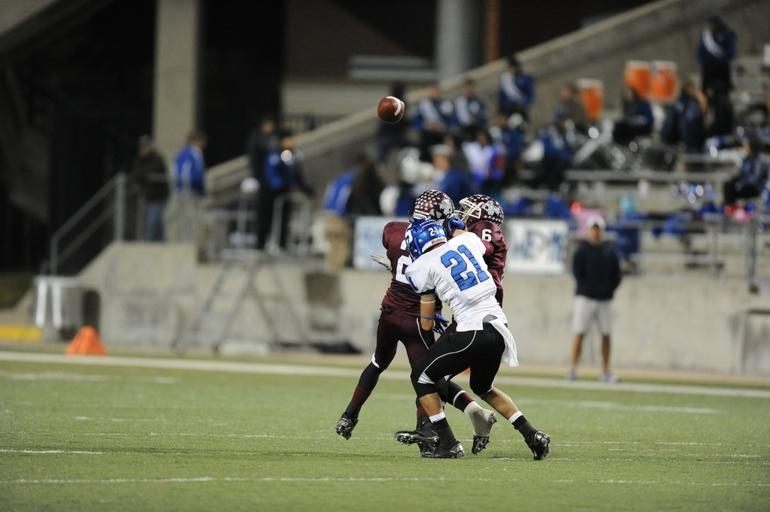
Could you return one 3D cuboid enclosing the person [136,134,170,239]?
[{"bbox_3d":[-5.200,-1.472,33.110,0.736,2.307,0.852,1,-1,-10],"label":"person"}]

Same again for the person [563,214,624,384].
[{"bbox_3d":[4.055,0.860,29.139,0.980,3.293,0.760,0,-1,8],"label":"person"}]

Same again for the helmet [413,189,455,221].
[{"bbox_3d":[0.725,-0.799,23.265,0.635,0.479,0.320,0,-1,1],"label":"helmet"}]

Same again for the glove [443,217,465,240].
[{"bbox_3d":[1.063,-0.469,23.369,0.318,0.337,0.146,1,29,-11],"label":"glove"}]
